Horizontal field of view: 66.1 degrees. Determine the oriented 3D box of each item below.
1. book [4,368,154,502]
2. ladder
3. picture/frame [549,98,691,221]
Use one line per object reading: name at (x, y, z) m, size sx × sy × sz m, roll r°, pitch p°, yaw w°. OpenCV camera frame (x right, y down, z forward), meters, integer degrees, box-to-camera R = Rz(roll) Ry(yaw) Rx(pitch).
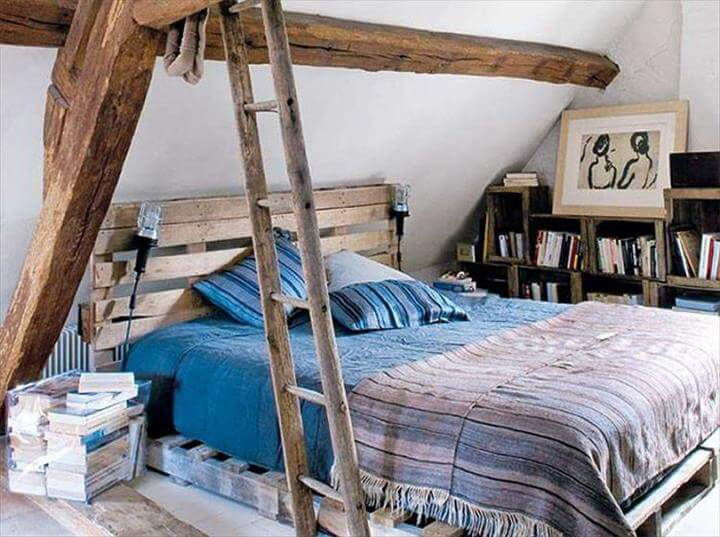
book at (-1.362, 0.723, 2.833) m, size 0.614 × 0.563 × 0.648 m, roll 1°, pitch 3°, yaw 29°
ladder at (-0.230, 0.031, 1.941) m, size 0.194 × 1.956 × 0.698 m, roll -9°, pitch 13°, yaw -26°
picture/frame at (2.237, -0.935, 4.684) m, size 1.205 × 0.940 × 0.096 m, roll 5°, pitch 1°, yaw 40°
